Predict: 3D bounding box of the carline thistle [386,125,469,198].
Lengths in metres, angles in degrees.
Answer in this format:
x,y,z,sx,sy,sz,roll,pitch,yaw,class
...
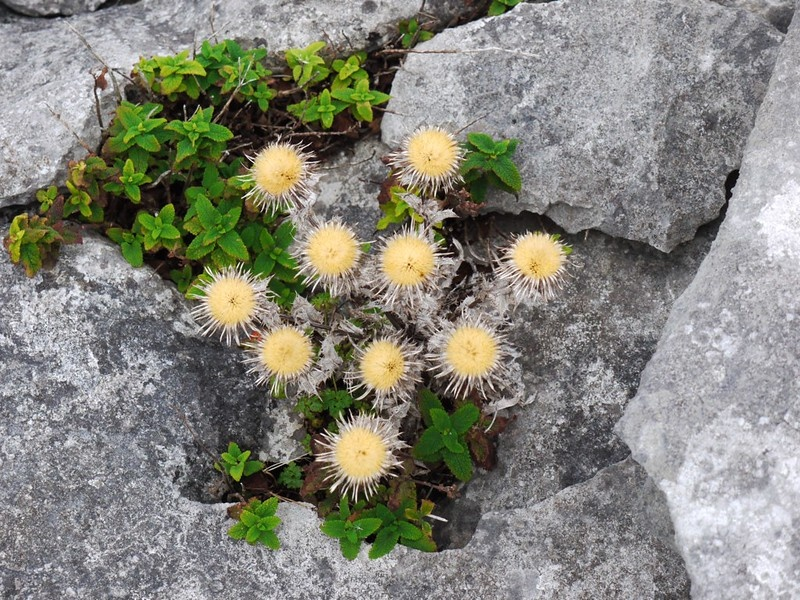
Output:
x,y,z,sx,sy,sz,roll,pitch,yaw,class
0.188,-0.837,5.267,0.402,0.190,0.519,4,93,1,carline thistle

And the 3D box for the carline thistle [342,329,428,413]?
x,y,z,sx,sy,sz,roll,pitch,yaw,class
-0.056,0.408,5.022,0.392,0.196,0.474,18,74,19,carline thistle

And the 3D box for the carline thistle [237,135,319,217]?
x,y,z,sx,sy,sz,roll,pitch,yaw,class
-0.694,-0.711,5.111,0.395,0.209,0.509,2,87,4,carline thistle

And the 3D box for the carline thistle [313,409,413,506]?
x,y,z,sx,sy,sz,roll,pitch,yaw,class
-0.201,0.751,4.920,0.457,0.483,0.262,14,103,-5,carline thistle

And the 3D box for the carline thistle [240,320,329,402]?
x,y,z,sx,sy,sz,roll,pitch,yaw,class
-0.664,0.324,5.087,0.370,0.200,0.477,5,92,4,carline thistle

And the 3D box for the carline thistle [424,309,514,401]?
x,y,z,sx,sy,sz,roll,pitch,yaw,class
0.397,0.338,5.059,0.431,0.229,0.555,-4,78,4,carline thistle

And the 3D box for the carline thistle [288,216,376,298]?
x,y,z,sx,sy,sz,roll,pitch,yaw,class
-0.429,-0.237,5.086,0.417,0.201,0.527,1,87,-1,carline thistle

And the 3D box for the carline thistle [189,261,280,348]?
x,y,z,sx,sy,sz,roll,pitch,yaw,class
-0.956,-0.014,4.986,0.238,0.480,0.466,-41,69,-6,carline thistle

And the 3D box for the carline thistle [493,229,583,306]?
x,y,z,sx,sy,sz,roll,pitch,yaw,class
0.763,-0.190,4.852,0.356,0.170,0.459,5,94,2,carline thistle

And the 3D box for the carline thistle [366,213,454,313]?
x,y,z,sx,sy,sz,roll,pitch,yaw,class
0.044,-0.197,4.917,0.401,0.190,0.515,7,89,6,carline thistle
